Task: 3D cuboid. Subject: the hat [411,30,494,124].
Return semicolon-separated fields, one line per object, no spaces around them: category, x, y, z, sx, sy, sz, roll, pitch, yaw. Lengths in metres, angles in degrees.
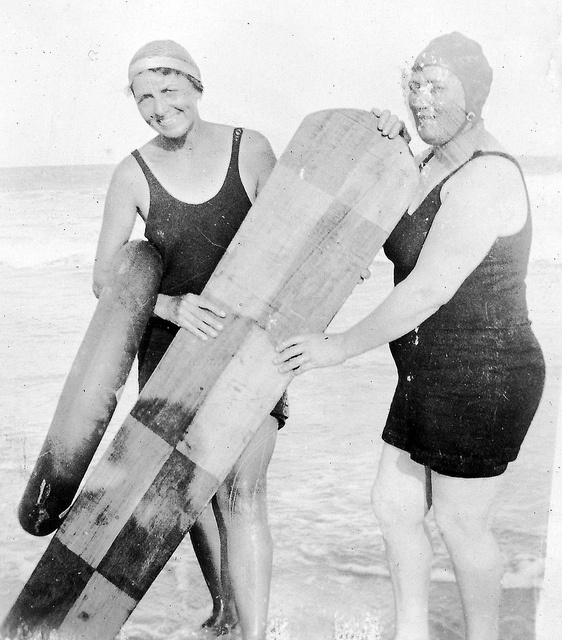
hat;0.539;-0.726;3.102;0.194;0.189;0.240;33;9;18
